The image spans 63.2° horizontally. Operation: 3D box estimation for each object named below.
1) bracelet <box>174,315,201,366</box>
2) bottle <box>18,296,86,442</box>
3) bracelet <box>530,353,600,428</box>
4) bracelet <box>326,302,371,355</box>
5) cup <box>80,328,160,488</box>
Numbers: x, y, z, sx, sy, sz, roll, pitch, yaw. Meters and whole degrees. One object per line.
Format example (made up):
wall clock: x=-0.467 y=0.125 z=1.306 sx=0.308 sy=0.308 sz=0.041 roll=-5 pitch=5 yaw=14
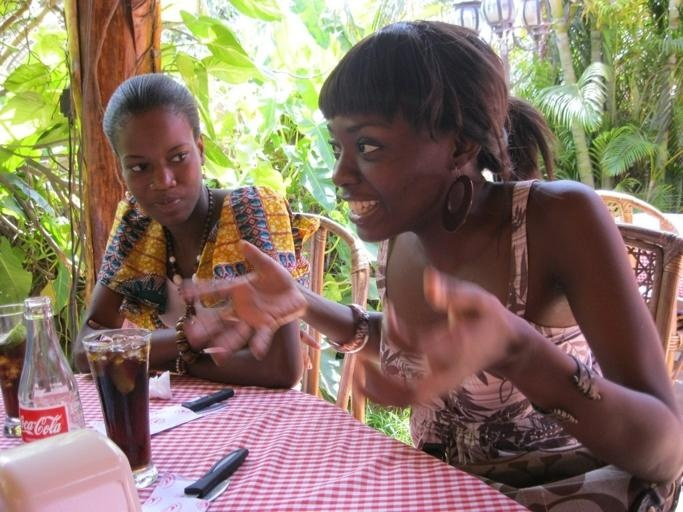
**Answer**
bracelet: x=-0.471 y=0.249 z=1.651 sx=0.039 sy=0.112 sz=0.087 roll=-4 pitch=-2 yaw=-29
bottle: x=-0.616 y=0.233 z=1.157 sx=0.126 sy=0.312 sz=0.112 roll=-1 pitch=11 yaw=2
bracelet: x=0.492 y=0.290 z=1.208 sx=0.135 sy=0.150 sz=0.035 roll=3 pitch=12 yaw=21
bracelet: x=0.038 y=0.214 z=1.683 sx=0.124 sy=0.142 sz=0.056 roll=-13 pitch=-30 yaw=22
cup: x=-0.447 y=0.301 z=1.140 sx=0.124 sy=0.291 sz=0.184 roll=-5 pitch=12 yaw=-21
